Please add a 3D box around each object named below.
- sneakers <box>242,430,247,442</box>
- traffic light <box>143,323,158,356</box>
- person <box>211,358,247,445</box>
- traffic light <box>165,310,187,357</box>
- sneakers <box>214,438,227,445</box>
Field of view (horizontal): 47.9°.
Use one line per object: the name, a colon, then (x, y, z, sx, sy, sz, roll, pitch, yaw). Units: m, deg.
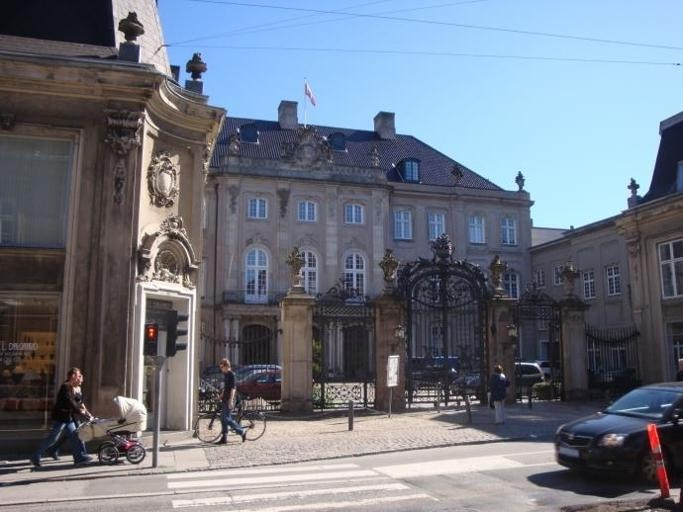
sneakers: (-2.724, 5.072, 21.496, 0.104, 0.359, 0.141, 0, -2, -1)
traffic light: (-4.647, 2.058, 18.669, 0.319, 0.740, 0.416, 0, -1, -14)
person: (-3.070, 4.060, 21.508, 0.713, 2.307, 0.847, 0, -1, -2)
traffic light: (-4.411, 2.078, 20.657, 0.489, 1.358, 3.656, 0, -1, -11)
sneakers: (-3.339, 5.115, 21.195, 0.354, 0.158, 0.205, 0, -1, -17)
